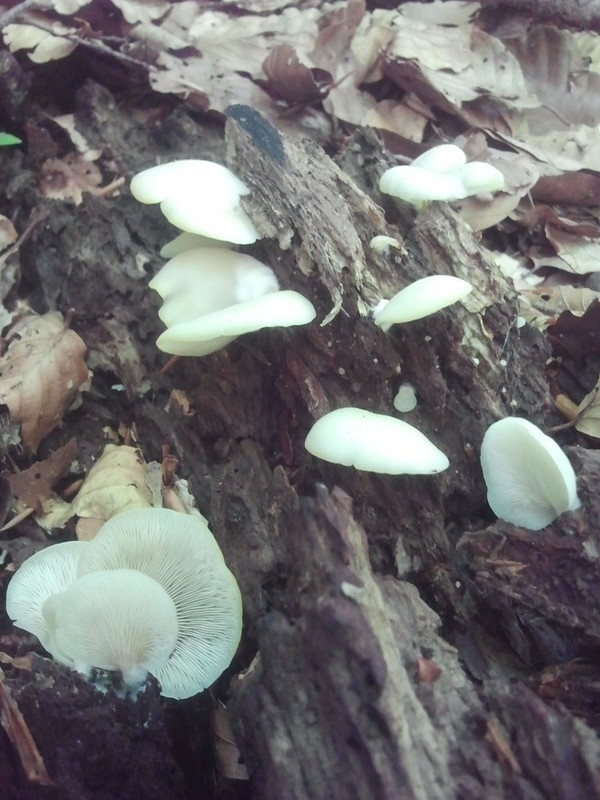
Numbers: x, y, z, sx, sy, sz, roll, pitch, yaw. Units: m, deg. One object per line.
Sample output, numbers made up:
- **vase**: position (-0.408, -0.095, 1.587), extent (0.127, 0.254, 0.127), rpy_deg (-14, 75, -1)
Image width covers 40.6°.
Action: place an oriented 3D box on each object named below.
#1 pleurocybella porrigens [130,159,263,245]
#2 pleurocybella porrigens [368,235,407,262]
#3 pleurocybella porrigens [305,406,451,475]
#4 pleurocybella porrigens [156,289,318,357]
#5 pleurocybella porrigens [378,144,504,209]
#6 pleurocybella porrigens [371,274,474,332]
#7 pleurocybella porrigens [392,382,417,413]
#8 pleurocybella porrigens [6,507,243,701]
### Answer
- **pleurocybella porrigens**: position (-0.392, -0.747, 3.202), extent (0.415, 0.129, 0.397), rpy_deg (43, 35, 17)
- **pleurocybella porrigens**: position (0.356, -0.611, 3.236), extent (0.141, 0.058, 0.089), rpy_deg (40, 52, 19)
- **pleurocybella porrigens**: position (0.287, 0.167, 2.937), extent (0.487, 0.124, 0.254), rpy_deg (24, 49, 7)
- **pleurocybella porrigens**: position (-0.251, -0.294, 3.113), extent (0.616, 0.165, 0.537), rpy_deg (-10, 12, -16)
- **pleurocybella porrigens**: position (0.597, -0.879, 3.459), extent (0.439, 0.158, 0.384), rpy_deg (7, 51, 18)
- **pleurocybella porrigens**: position (0.450, -0.364, 3.043), extent (0.308, 0.183, 0.171), rpy_deg (-18, 59, -27)
- **pleurocybella porrigens**: position (0.406, -0.017, 3.080), extent (0.097, 0.025, 0.098), rpy_deg (-6, 89, -1)
- **pleurocybella porrigens**: position (-0.576, 0.662, 2.721), extent (0.793, 0.480, 0.488), rpy_deg (16, 50, -1)
